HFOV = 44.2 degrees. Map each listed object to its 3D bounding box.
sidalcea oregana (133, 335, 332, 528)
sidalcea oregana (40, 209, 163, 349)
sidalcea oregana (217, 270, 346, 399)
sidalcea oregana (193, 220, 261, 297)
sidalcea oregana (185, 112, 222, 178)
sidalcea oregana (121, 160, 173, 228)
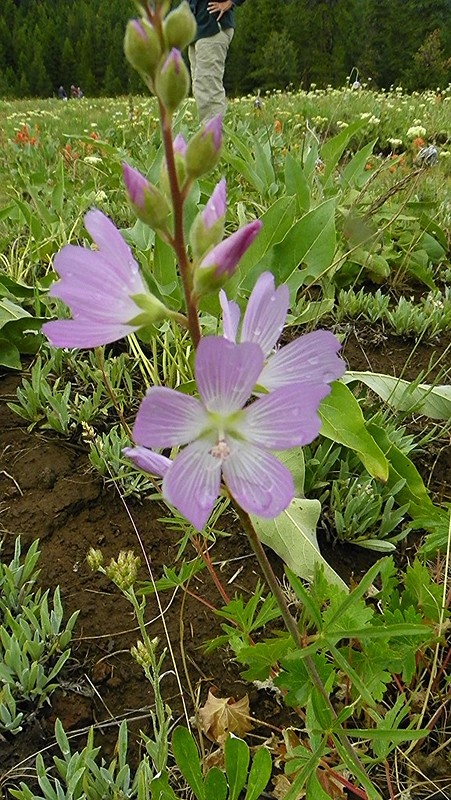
[{"bbox_3d":[-0.007,0.020,0.613,0.192,0.094,0.194,33,74,-15],"label":"sidalcea oregana"},{"bbox_3d":[-0.129,-0.139,0.621,0.074,0.129,0.156,9,62,18],"label":"sidalcea oregana"},{"bbox_3d":[0.060,-0.058,0.711,0.148,0.073,0.151,27,54,-4],"label":"sidalcea oregana"},{"bbox_3d":[0.001,-0.150,0.587,0.068,0.075,0.060,1,30,4],"label":"sidalcea oregana"},{"bbox_3d":[-0.020,-0.281,0.612,0.030,0.060,0.080,12,32,21],"label":"sidalcea oregana"},{"bbox_3d":[-0.084,-0.221,0.615,0.030,0.035,0.088,-29,80,-39],"label":"sidalcea oregana"}]
